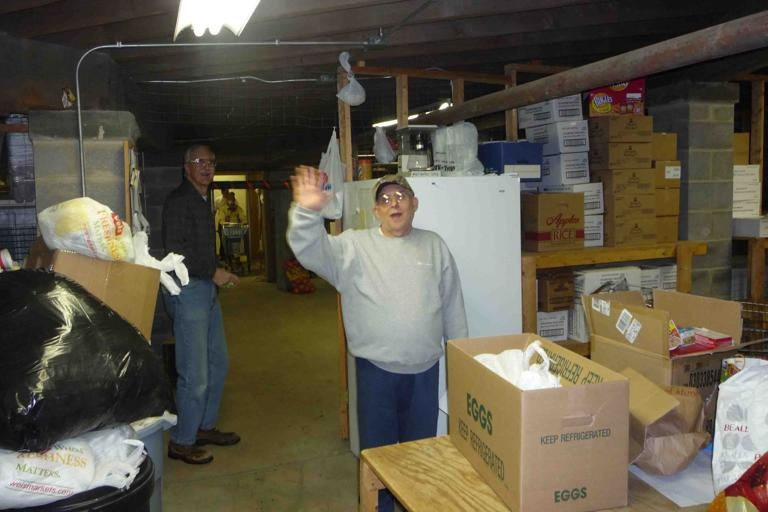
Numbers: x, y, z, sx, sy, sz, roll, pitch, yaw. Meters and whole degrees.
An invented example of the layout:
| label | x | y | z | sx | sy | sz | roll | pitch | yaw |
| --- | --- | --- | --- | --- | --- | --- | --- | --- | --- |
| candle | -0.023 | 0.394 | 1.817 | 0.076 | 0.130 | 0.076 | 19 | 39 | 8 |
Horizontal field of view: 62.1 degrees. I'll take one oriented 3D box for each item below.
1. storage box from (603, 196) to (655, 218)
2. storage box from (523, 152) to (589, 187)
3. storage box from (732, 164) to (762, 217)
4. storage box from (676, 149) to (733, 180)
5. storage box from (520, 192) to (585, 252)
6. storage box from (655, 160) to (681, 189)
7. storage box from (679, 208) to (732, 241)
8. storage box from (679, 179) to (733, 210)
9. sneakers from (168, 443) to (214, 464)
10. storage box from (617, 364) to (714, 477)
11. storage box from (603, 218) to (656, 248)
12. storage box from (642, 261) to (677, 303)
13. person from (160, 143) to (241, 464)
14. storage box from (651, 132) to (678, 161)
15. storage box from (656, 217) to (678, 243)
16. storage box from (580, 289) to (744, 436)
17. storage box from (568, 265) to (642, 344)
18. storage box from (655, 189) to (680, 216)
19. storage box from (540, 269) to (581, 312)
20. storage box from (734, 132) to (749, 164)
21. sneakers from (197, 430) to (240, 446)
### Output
| label | x | y | z | sx | sy | sz | roll | pitch | yaw |
| --- | --- | --- | --- | --- | --- | --- | --- | --- | --- |
| storage box | 1.994 | -0.416 | 5.166 | 0.421 | 0.173 | 0.105 | -3 | 12 | -15 |
| storage box | 1.490 | -0.729 | 5.289 | 0.368 | 0.225 | 0.370 | -10 | 9 | -40 |
| storage box | 3.579 | -0.638 | 6.237 | 0.366 | 0.496 | 0.252 | -3 | 12 | -13 |
| storage box | 2.959 | -0.845 | 5.877 | 0.553 | 0.289 | 0.078 | -4 | 12 | -17 |
| storage box | 1.480 | -0.233 | 5.042 | 0.588 | 0.435 | 0.601 | 4 | -5 | -8 |
| storage box | 2.350 | -0.681 | 5.404 | 0.227 | 0.225 | 0.219 | -1 | -3 | 0 |
| storage box | 2.993 | -0.288 | 5.939 | 0.541 | 0.285 | 0.090 | -5 | 12 | -20 |
| storage box | 2.981 | -0.568 | 5.897 | 0.538 | 0.269 | 0.073 | -3 | 12 | -16 |
| sneakers | -1.382 | 1.401 | 4.572 | 0.304 | 0.147 | 0.138 | 2 | 2 | -3 |
| storage box | 1.156 | 0.694 | 2.776 | 0.352 | 0.330 | 0.467 | -2 | -3 | 2 |
| storage box | 1.994 | -0.190 | 5.123 | 0.328 | 0.178 | 0.243 | -2 | 5 | -12 |
| storage box | 2.014 | 0.191 | 4.676 | 0.287 | 0.204 | 0.156 | -2 | 6 | -12 |
| person | -1.351 | 0.342 | 4.540 | 0.445 | 2.223 | 0.587 | 4 | 12 | 19 |
| storage box | 2.339 | -0.913 | 5.322 | 0.242 | 0.223 | 0.099 | -7 | 13 | -30 |
| storage box | 2.341 | -0.216 | 5.283 | 0.201 | 0.202 | 0.203 | 1 | 1 | 29 |
| storage box | 1.267 | 0.471 | 3.147 | 0.517 | 0.728 | 0.722 | -2 | 2 | -21 |
| storage box | 1.732 | 0.388 | 5.015 | 0.649 | 0.622 | 0.213 | 1 | 2 | 41 |
| storage box | 2.345 | -0.444 | 5.273 | 0.257 | 0.219 | 0.104 | -3 | 12 | -15 |
| storage box | 1.351 | 0.292 | 5.101 | 0.346 | 0.250 | 0.346 | -1 | 3 | 33 |
| storage box | 3.616 | -1.095 | 6.471 | 0.173 | 0.299 | 0.111 | 2 | 11 | 12 |
| sneakers | -1.273 | 1.343 | 4.835 | 0.280 | 0.132 | 0.123 | -1 | 3 | -14 |
